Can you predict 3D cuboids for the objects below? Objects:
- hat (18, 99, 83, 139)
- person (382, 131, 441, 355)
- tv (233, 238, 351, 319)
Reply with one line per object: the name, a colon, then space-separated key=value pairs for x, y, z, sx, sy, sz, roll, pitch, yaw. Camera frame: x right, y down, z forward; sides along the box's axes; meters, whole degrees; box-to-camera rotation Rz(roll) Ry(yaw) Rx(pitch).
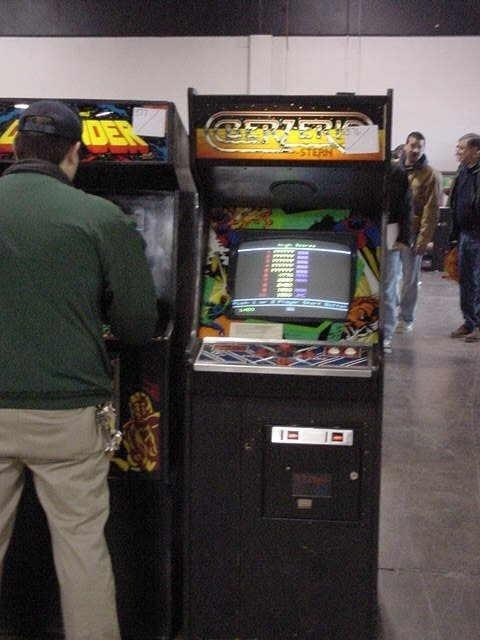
hat: x=-0.444 y=-0.457 z=1.406 sx=0.093 sy=0.068 sz=0.123 roll=13 pitch=16 yaw=18
person: x=0.719 y=-0.309 z=2.604 sx=0.230 sy=0.971 sz=0.128 roll=-2 pitch=15 yaw=-25
tv: x=0.118 y=-0.136 z=1.910 sx=0.450 sy=0.274 sz=0.226 roll=0 pitch=6 yaw=-28
